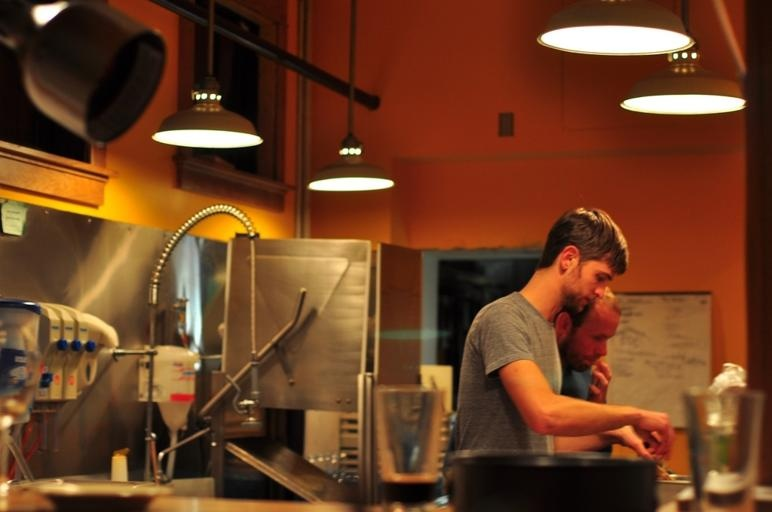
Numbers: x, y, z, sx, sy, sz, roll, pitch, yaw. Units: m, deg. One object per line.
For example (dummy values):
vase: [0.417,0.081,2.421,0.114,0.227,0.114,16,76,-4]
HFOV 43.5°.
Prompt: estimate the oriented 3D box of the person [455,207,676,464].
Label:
person: [0.592,0.258,3.411,0.677,0.903,0.612,1,-12,-1]
